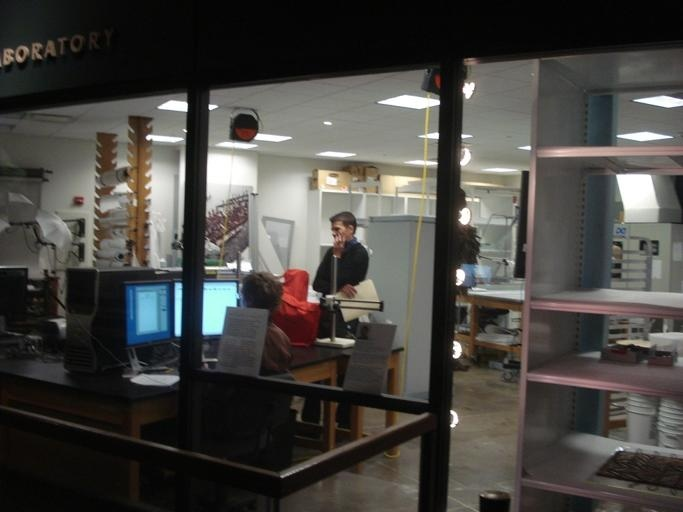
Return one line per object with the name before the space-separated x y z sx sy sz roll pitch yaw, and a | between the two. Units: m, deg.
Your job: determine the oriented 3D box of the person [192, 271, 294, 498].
person | -0.432 0.534 2.930 0.404 0.875 0.681 2 2 -4
